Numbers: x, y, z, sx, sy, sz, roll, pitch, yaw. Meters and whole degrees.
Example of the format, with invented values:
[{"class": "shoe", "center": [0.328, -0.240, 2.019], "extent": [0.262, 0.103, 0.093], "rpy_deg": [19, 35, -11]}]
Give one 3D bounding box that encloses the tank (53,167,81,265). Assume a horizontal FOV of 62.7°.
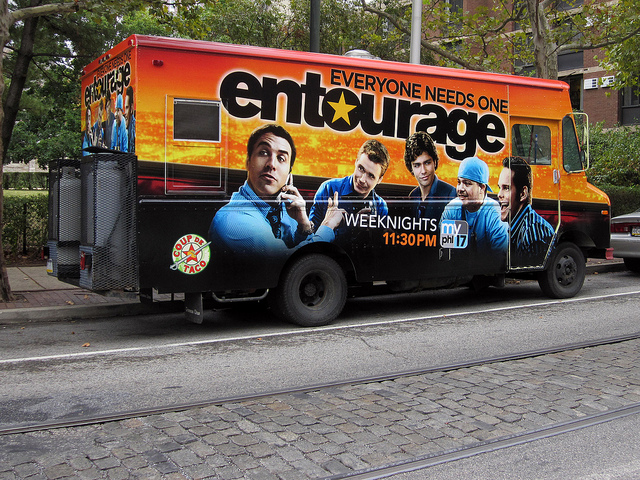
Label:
[{"class": "tank", "center": [-3.957, -0.353, 8.043], "extent": [0.366, 1.593, 0.512], "rpy_deg": [3, 2, 16]}]
